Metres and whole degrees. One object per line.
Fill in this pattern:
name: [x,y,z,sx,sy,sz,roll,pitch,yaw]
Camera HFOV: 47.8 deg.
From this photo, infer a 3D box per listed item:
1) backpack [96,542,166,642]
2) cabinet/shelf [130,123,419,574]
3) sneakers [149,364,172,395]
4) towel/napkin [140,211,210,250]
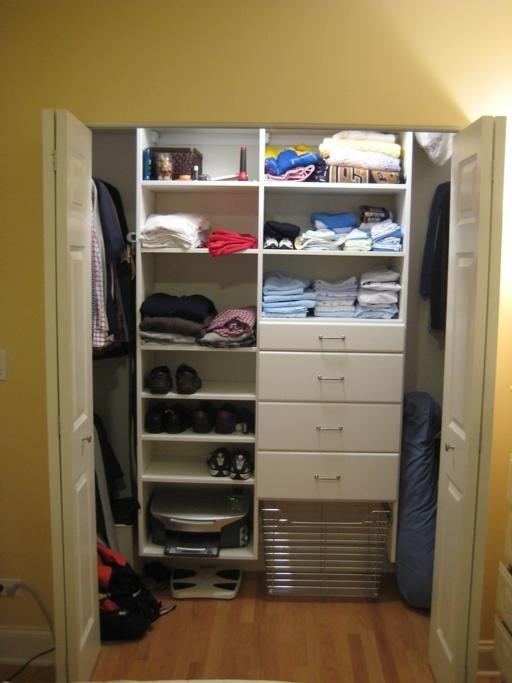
backpack: [-0.525,1.023,2.338,0.248,0.117,0.337,3,10,-38]
cabinet/shelf: [0.066,0.039,2.742,1.152,2.024,0.516,1,-7,4]
sneakers: [-0.457,0.176,2.689,0.118,0.110,0.178,0,7,-9]
towel/napkin: [-0.358,-0.492,2.571,0.319,0.168,0.216,0,7,-15]
